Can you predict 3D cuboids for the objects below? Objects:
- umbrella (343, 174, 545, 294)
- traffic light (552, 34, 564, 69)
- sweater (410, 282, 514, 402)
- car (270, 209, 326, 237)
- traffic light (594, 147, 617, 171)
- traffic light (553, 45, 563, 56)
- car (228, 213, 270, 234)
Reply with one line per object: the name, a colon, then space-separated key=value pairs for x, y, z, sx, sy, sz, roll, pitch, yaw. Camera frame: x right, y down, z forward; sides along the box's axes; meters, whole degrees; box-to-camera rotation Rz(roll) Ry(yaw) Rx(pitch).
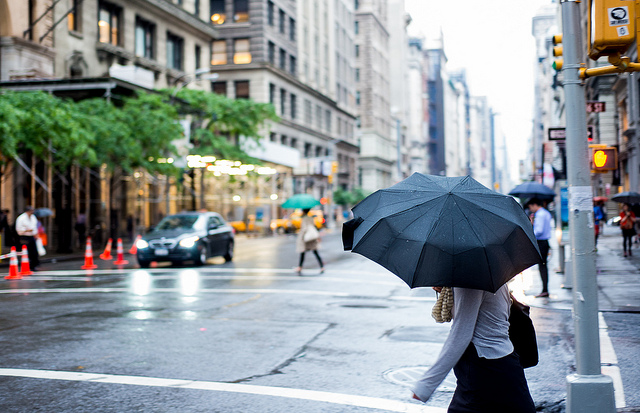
umbrella: x=2.169 y=0.479 z=16.748 sx=2.925 sy=0.781 sz=2.472 roll=15 pitch=41 yaw=9
traffic light: x=4.788 y=-3.111 z=18.540 sx=0.237 sy=0.689 sz=1.042 roll=2 pitch=13 yaw=13
sweater: x=2.718 y=2.621 z=17.306 sx=2.995 sy=1.680 sz=1.067 roll=-10 pitch=9 yaw=-38
car: x=-1.129 y=1.171 z=64.597 sx=4.151 sy=1.559 sz=2.254 roll=-2 pitch=-3 yaw=24
traffic light: x=6.762 y=-1.121 z=21.825 sx=0.191 sy=0.558 sz=0.744 roll=6 pitch=7 yaw=43
traffic light: x=4.754 y=-3.125 z=18.457 sx=0.261 sy=0.203 sz=0.180 roll=1 pitch=11 yaw=11
car: x=-4.746 y=1.197 z=62.091 sx=2.431 sy=0.797 sz=1.232 roll=-1 pitch=1 yaw=0
